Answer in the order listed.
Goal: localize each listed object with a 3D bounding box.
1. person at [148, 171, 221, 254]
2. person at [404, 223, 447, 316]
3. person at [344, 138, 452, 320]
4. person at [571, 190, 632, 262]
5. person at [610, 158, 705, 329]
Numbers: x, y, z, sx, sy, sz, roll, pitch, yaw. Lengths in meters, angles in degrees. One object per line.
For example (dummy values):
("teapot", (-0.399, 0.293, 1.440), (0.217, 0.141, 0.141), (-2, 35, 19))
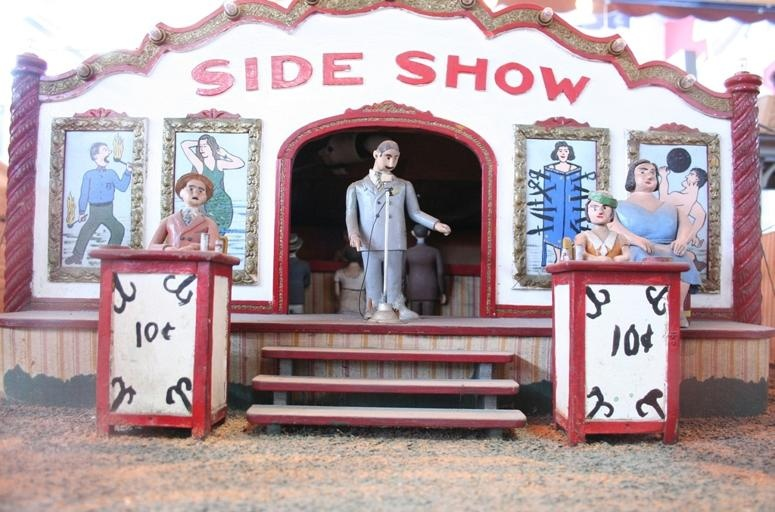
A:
("person", (-2.143, -0.477, 11.411), (0.707, 0.851, 0.508), (2, -5, -9))
("person", (0.450, 0.361, 14.119), (0.611, 1.680, 0.380), (5, 36, 10))
("person", (0.015, -0.304, 12.333), (0.987, 2.077, 0.550), (2, -5, -3))
("person", (2.202, -0.310, 11.113), (0.700, 0.764, 0.510), (6, -7, -39))
("person", (2.990, -0.152, 12.036), (1.508, 1.854, 0.715), (6, -7, -40))
